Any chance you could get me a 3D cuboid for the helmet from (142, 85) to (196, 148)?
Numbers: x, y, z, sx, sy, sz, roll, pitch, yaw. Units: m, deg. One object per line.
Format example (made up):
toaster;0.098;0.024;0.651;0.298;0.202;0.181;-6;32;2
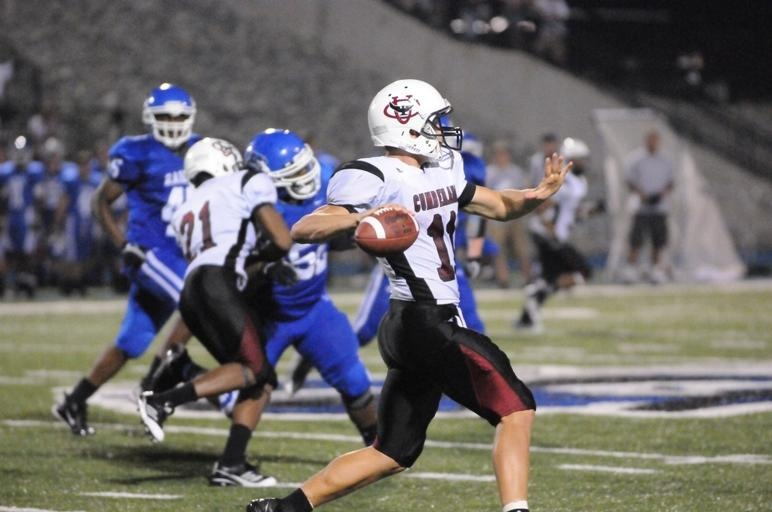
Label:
helmet;-2.054;-1.332;11.460;0.478;0.603;0.228;2;7;-12
